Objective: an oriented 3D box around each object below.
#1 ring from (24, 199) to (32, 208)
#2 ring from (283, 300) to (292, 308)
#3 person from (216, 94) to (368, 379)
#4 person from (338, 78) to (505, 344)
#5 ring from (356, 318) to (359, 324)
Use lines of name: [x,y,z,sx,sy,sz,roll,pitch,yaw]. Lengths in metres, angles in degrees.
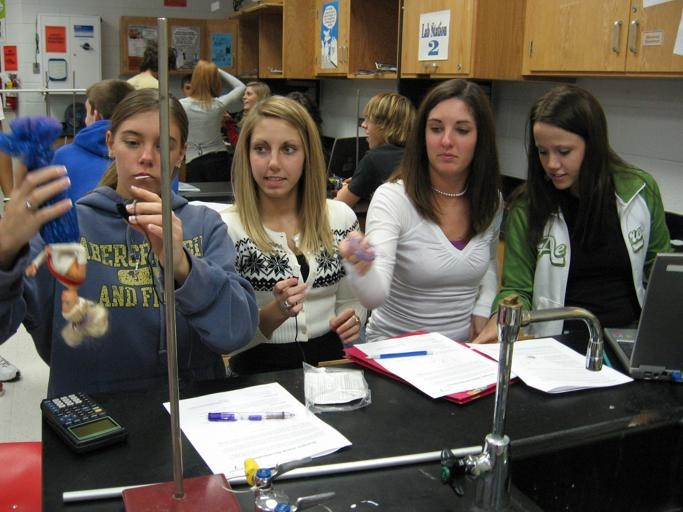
ring: [-0.582,-0.092,0.950,0.020,0.017,0.007,12,19,43]
ring: [-0.193,0.152,1.720,0.027,0.020,0.026,-3,13,1]
person: [-0.195,0.026,2.017,0.527,1.164,0.566,-9,19,-20]
person: [0.337,-0.050,2.118,0.511,1.173,0.504,-3,13,-19]
ring: [0.044,0.226,1.919,0.006,0.019,0.014,-31,19,3]
